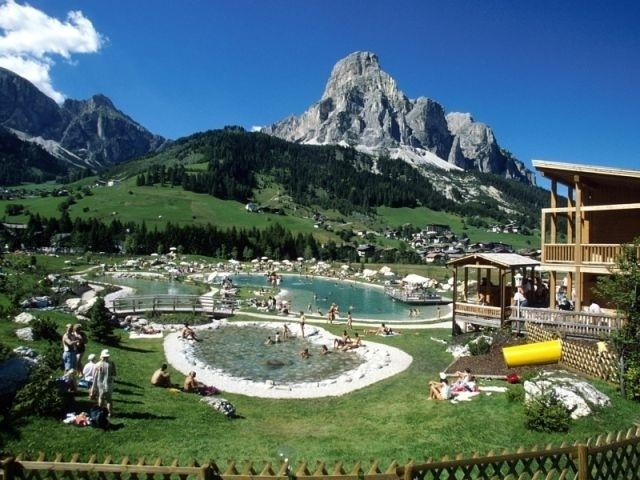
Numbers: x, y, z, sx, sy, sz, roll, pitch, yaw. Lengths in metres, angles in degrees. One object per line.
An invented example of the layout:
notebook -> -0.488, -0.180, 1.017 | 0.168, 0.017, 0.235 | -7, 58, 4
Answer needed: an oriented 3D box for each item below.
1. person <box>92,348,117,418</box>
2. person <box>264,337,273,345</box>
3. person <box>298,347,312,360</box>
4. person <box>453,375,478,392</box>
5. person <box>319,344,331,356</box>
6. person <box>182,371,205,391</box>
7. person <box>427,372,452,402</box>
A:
person -> -8.945, 5.901, 21.147 | 0.934, 2.834, 1.017 | -1, 11, -35
person -> -3.804, 7.698, 38.839 | 0.660, 0.391, 1.042 | 17, -18, 7
person -> -1.025, 7.959, 35.706 | 0.508, 1.039, 0.423 | -7, 2, 9
person -> 7.086, 6.982, 24.973 | 0.967, 0.551, 0.768 | 3, -5, -15
person -> 0.398, 7.759, 36.653 | 0.771, 0.638, 1.831 | 3, -2, 1
person -> -6.695, 7.490, 27.118 | 0.813, 1.408, 0.953 | 16, 20, 42
person -> 5.801, 7.098, 24.694 | 1.077, 1.279, 0.674 | 2, -2, 14
